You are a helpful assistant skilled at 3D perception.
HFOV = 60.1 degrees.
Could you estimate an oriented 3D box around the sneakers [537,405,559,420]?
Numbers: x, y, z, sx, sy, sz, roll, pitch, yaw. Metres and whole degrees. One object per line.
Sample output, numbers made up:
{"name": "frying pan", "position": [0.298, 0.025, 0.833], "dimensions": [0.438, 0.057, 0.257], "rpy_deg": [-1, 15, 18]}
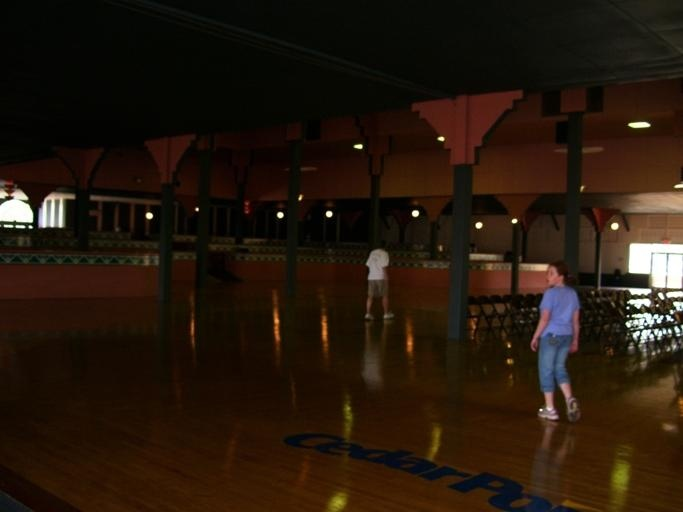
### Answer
{"name": "sneakers", "position": [2.069, 1.563, 5.907], "dimensions": [0.090, 0.108, 0.223], "rpy_deg": [-2, 4, -16]}

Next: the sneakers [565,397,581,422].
{"name": "sneakers", "position": [2.277, 1.496, 5.806], "dimensions": [0.112, 0.260, 0.112], "rpy_deg": [-5, 3, 4]}

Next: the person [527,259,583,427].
{"name": "person", "position": [2.161, 0.837, 5.945], "dimensions": [0.439, 1.559, 0.408], "rpy_deg": [0, -1, 20]}
